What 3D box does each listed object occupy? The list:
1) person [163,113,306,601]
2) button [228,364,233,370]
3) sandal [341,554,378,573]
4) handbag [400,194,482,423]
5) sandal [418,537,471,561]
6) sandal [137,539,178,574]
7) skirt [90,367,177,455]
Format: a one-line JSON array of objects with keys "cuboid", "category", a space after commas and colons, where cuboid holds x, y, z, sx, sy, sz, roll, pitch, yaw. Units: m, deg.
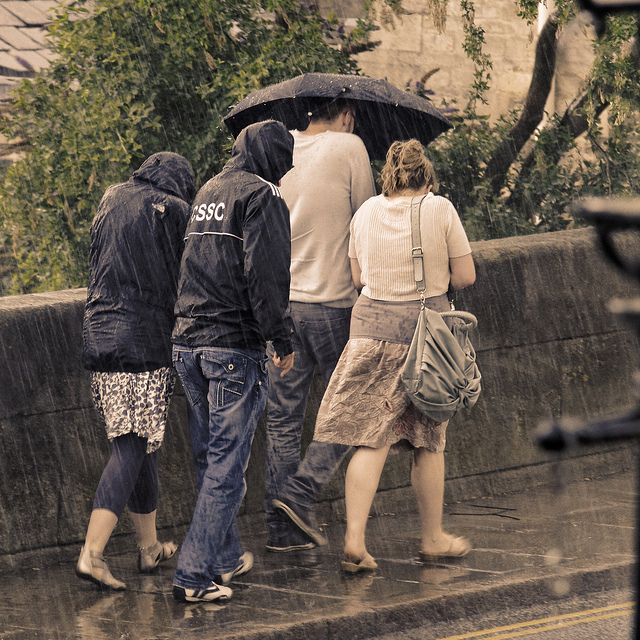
[{"cuboid": [-0.476, 0.200, 8.792, 0.922, 2.414, 0.597, -8, 8, -14], "category": "person"}, {"cuboid": [-0.470, 0.249, 8.697, 0.025, 0.027, 0.007, -9, 9, -20], "category": "button"}, {"cuboid": [0.221, 1.318, 8.962, 0.159, 0.066, 0.082, -1, 2, -20], "category": "sandal"}, {"cuboid": [0.643, -0.053, 8.950, 0.311, 1.226, 0.482, 1, 11, 41], "category": "handbag"}, {"cuboid": [0.700, 1.254, 9.160, 0.244, 0.084, 0.113, -6, 8, -8], "category": "sandal"}, {"cuboid": [-0.931, 1.319, 9.333, 0.091, 0.136, 0.288, 1, 19, 26], "category": "sandal"}, {"cuboid": [-1.021, 0.432, 9.145, 0.376, 0.484, 0.290, -9, 30, -9], "category": "skirt"}]
